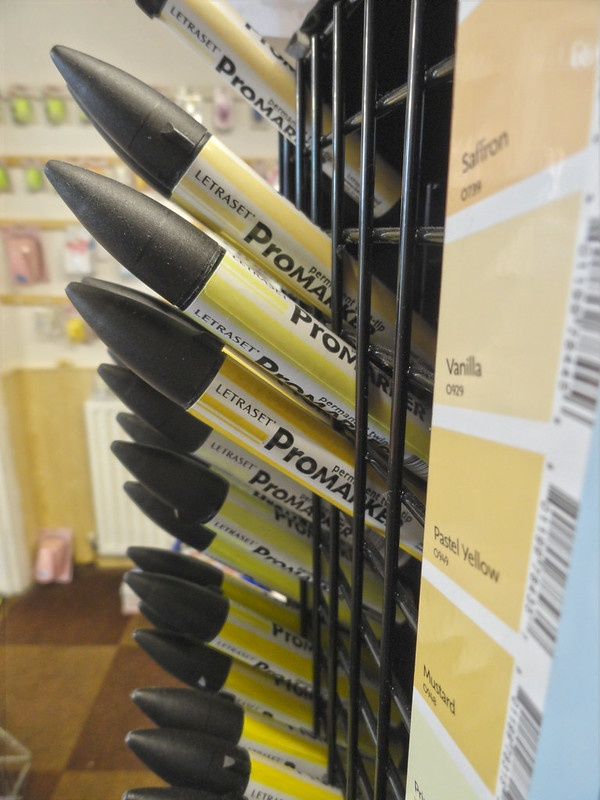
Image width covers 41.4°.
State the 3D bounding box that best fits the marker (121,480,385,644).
[{"bbox_3d":[-0.048,0.187,0.909,0.403,0.060,0.061,29,-29,-8],"label":"marker"}]

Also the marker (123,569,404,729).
[{"bbox_3d":[-0.050,0.266,0.984,0.364,0.060,0.059,18,-6,-31],"label":"marker"}]
